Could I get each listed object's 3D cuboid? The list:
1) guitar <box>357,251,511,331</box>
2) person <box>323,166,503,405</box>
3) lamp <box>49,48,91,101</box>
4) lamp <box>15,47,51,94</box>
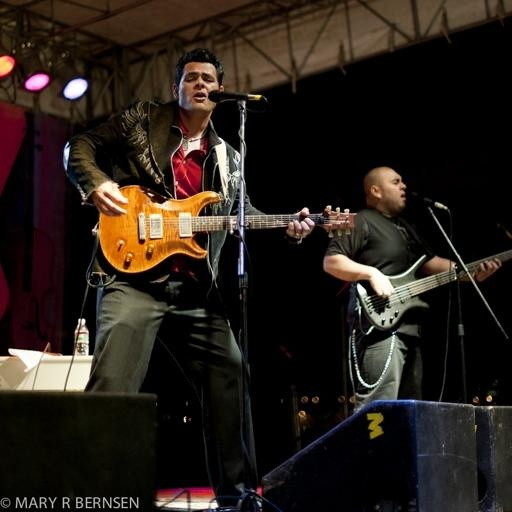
[{"bbox_3d":[1.017,0.224,4.772,0.938,0.459,0.218,3,-4,-28],"label":"guitar"},{"bbox_3d":[0.857,0.434,4.673,0.897,2.132,0.483,14,-26,-13],"label":"person"},{"bbox_3d":[-2.021,-1.960,8.303,0.331,0.564,0.522,-2,29,-24],"label":"lamp"},{"bbox_3d":[-2.299,-1.830,7.756,0.537,0.378,0.290,-1,-4,30],"label":"lamp"}]
